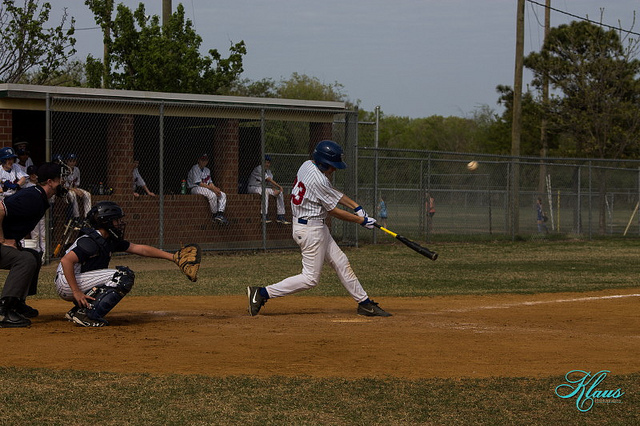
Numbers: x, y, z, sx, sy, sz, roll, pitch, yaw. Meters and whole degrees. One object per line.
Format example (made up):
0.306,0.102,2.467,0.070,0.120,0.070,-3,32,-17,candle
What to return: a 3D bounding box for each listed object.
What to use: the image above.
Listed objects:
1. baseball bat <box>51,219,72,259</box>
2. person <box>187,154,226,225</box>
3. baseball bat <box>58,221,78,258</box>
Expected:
-6.417,0.691,27.722,0.139,1.160,0.139,39,-11,-32,baseball bat
-3.213,-0.617,31.762,1.166,1.870,0.829,4,15,5,person
-6.041,0.663,26.809,0.140,1.181,0.123,40,10,0,baseball bat
